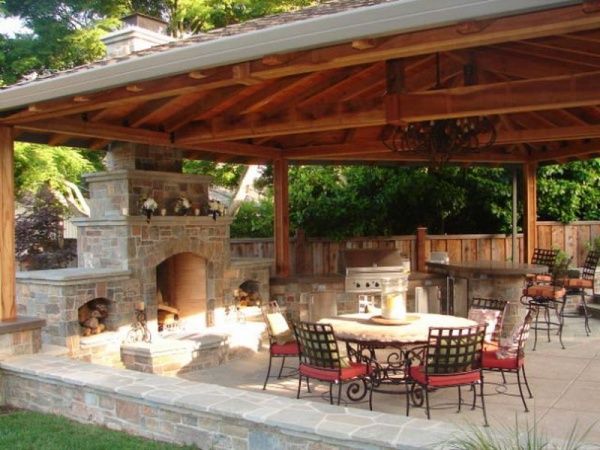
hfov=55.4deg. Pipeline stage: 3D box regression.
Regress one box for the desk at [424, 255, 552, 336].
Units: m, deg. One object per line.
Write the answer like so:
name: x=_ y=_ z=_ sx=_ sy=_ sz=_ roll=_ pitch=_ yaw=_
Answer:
desk: x=3.438 y=1.429 z=10.869 sx=1.257 sy=0.958 sz=2.132 roll=6 pitch=-17 yaw=-8

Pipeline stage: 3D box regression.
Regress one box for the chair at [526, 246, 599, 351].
chair: x=5.154 y=1.487 z=11.045 sx=1.133 sy=1.007 sz=1.694 roll=-2 pitch=1 yaw=7

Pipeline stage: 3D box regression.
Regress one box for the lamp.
lamp: x=1.885 y=-1.746 z=7.569 sx=1.431 sy=1.953 sz=1.356 roll=-2 pitch=3 yaw=-23

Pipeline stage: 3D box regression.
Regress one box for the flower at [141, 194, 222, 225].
flower: x=-2.051 y=-0.281 z=9.933 sx=1.691 sy=0.455 sz=0.381 roll=-7 pitch=13 yaw=-45
